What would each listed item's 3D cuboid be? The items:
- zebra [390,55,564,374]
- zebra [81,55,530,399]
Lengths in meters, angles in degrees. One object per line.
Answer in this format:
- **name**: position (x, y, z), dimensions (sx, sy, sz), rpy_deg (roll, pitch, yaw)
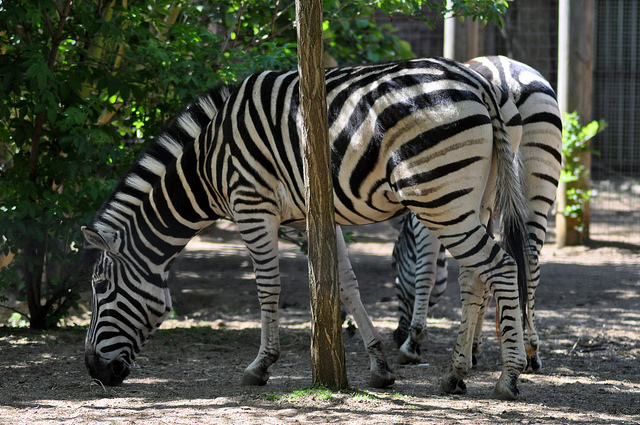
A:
- **zebra**: position (1.680, 0.140, 11.500), dimensions (1.385, 3.737, 5.244), rpy_deg (-6, -4, -5)
- **zebra**: position (-0.318, 0.244, 9.653), dimensions (4.856, 3.145, 1.404), rpy_deg (-8, -2, 20)
